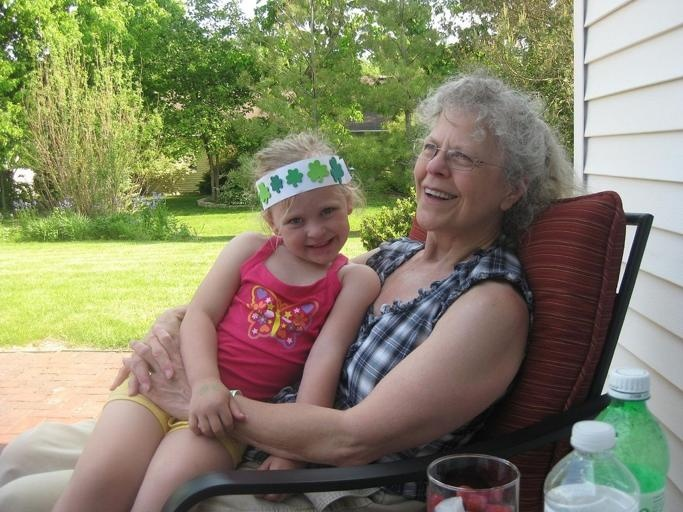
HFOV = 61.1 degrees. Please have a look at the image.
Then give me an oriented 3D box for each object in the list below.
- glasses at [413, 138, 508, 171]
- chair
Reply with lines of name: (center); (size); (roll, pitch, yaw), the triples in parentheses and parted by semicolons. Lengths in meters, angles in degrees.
glasses: (0.450, -0.384, 2.258); (0.182, 0.057, 0.175); (17, 7, -44)
chair: (0.340, 0.337, 2.546); (1.385, 1.363, 1.058); (3, -6, -10)
